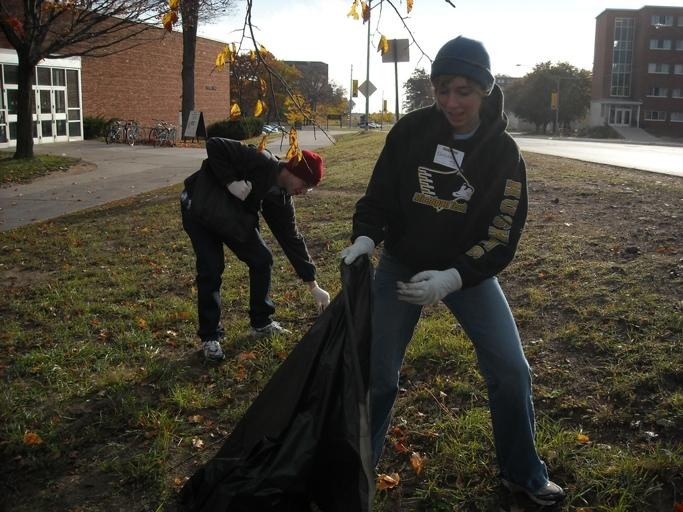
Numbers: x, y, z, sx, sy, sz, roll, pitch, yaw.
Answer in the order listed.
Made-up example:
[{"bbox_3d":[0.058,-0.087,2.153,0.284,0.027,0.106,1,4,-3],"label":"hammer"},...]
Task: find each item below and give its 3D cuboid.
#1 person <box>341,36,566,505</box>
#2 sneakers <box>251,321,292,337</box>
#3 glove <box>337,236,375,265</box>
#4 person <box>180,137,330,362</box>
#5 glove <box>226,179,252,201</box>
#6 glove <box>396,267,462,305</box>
[{"bbox_3d":[0.628,0.103,2.626,1.165,2.590,0.659,0,11,1],"label":"person"},{"bbox_3d":[-0.695,0.738,4.631,0.397,0.197,0.159,-5,12,-3],"label":"sneakers"},{"bbox_3d":[0.080,-0.050,2.551,0.193,0.081,0.119,-31,59,-21],"label":"glove"},{"bbox_3d":[-0.793,-0.052,4.142,1.164,1.981,0.821,-5,12,-22],"label":"person"},{"bbox_3d":[-0.845,-0.579,3.886,0.196,0.169,0.179,7,21,31],"label":"glove"},{"bbox_3d":[0.489,0.169,2.497,0.364,0.210,0.190,-2,13,-8],"label":"glove"}]
